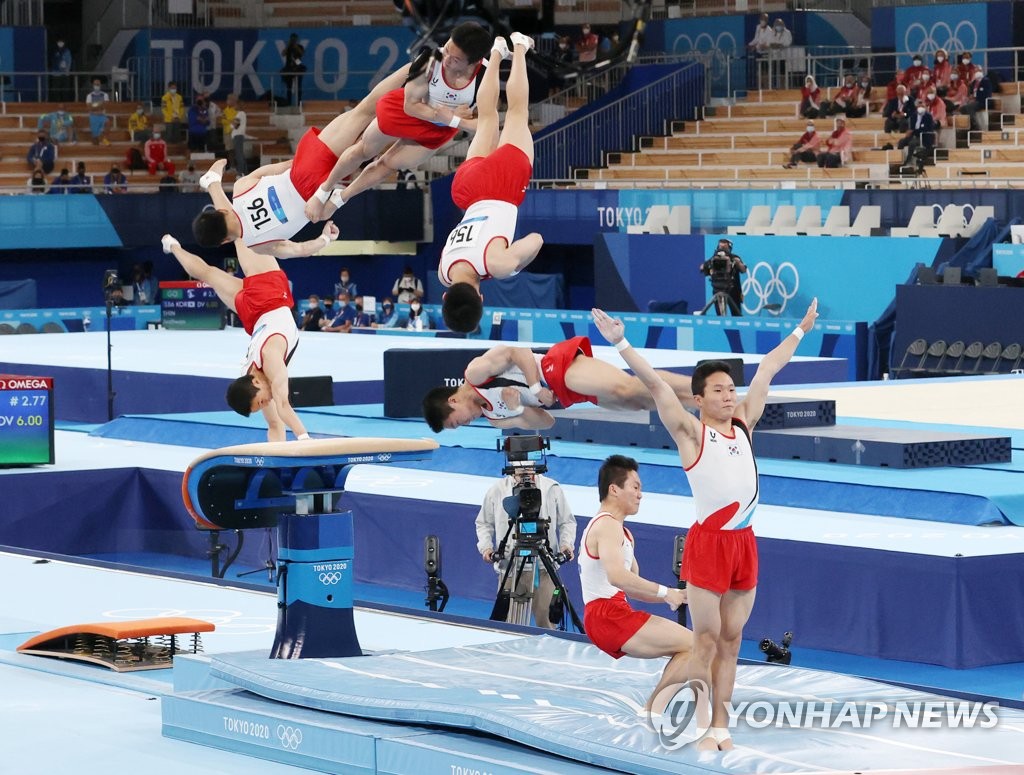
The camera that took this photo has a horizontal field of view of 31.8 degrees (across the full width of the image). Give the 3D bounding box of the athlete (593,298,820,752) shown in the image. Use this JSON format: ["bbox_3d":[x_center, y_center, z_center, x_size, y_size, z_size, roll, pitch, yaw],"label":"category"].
[{"bbox_3d":[1.033,0.744,10.192,0.883,2.304,1.048,6,10,31],"label":"athlete"}]
